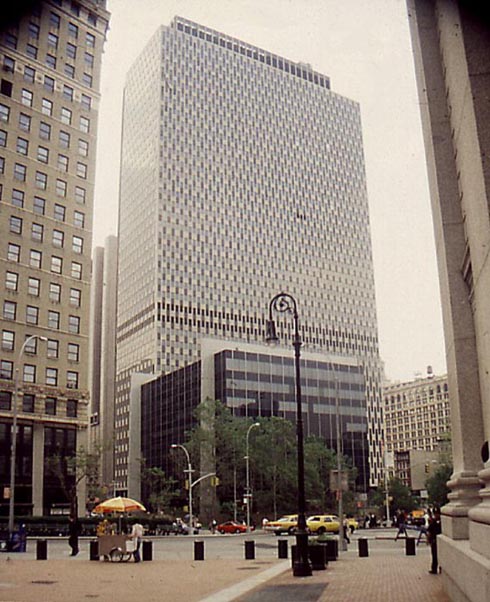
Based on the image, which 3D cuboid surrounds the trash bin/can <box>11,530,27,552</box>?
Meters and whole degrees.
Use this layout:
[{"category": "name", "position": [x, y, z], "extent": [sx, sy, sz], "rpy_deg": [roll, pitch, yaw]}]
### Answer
[{"category": "trash bin/can", "position": [-11.295, 11.969, 33.558], "extent": [0.624, 1.028, 0.541], "rpy_deg": [6, -19, -27]}]

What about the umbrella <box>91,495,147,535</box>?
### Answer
[{"category": "umbrella", "position": [-5.623, 9.771, 30.918], "extent": [1.454, 1.578, 1.391], "rpy_deg": [-8, -14, 41]}]

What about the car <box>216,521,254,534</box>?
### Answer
[{"category": "car", "position": [-1.393, 22.990, 67.985], "extent": [2.853, 1.069, 1.585], "rpy_deg": [-11, -15, 24]}]

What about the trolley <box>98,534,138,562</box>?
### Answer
[{"category": "trolley", "position": [-5.140, 10.008, 27.308], "extent": [1.406, 1.323, 1.145], "rpy_deg": [1, -18, -2]}]
